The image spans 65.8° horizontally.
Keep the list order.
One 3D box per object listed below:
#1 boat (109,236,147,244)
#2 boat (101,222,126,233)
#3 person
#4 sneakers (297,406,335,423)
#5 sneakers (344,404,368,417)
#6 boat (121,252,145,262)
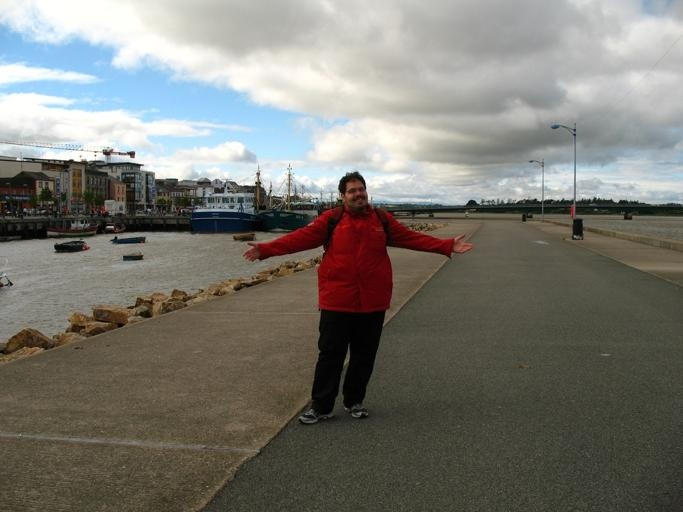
[{"bbox_3d":[-27.190,-2.048,67.135,3.546,0.852,1.245,-3,3,-2],"label":"boat"},{"bbox_3d":[-39.249,-4.800,91.177,2.378,1.511,6.153,-5,-3,-5],"label":"boat"},{"bbox_3d":[0.089,0.348,4.861,1.621,2.224,0.555,-2,4,-21],"label":"person"},{"bbox_3d":[-0.217,1.434,4.772,0.322,0.152,0.116,7,-4,-20],"label":"sneakers"},{"bbox_3d":[0.146,1.429,4.882,0.096,0.080,0.187,0,-6,-40],"label":"sneakers"},{"bbox_3d":[-16.666,0.031,42.538,1.049,0.449,1.420,6,10,42],"label":"boat"}]
